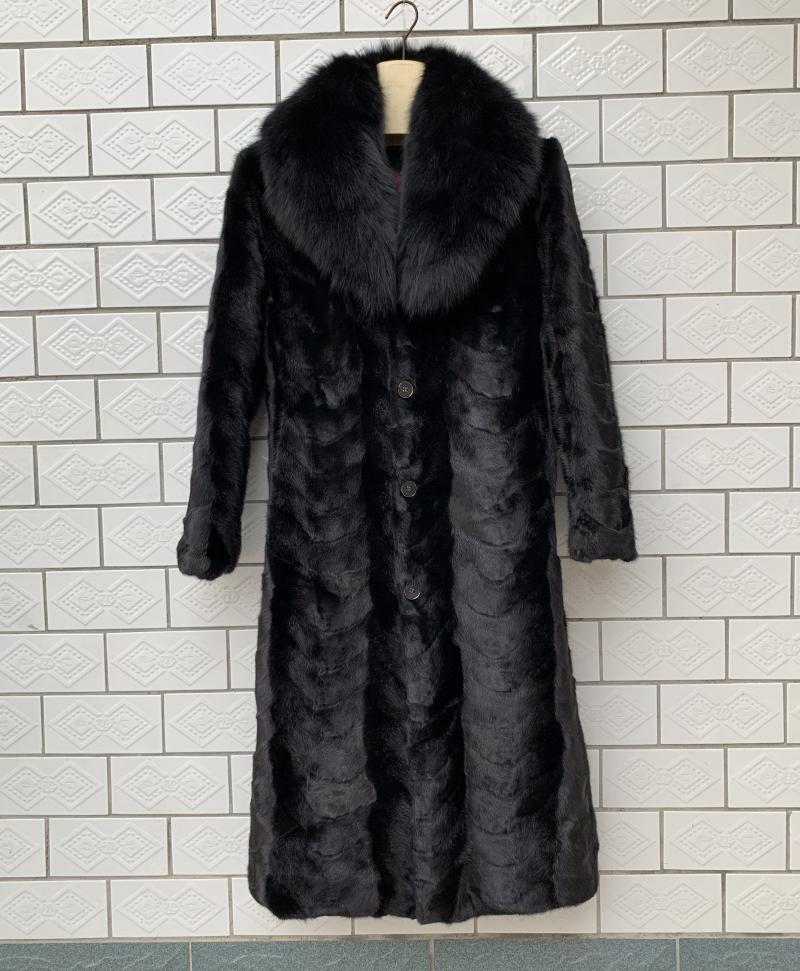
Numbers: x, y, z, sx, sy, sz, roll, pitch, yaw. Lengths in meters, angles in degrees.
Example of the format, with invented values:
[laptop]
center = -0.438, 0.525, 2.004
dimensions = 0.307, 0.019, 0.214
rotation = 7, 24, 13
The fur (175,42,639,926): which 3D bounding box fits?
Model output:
[fur]
center = 0.010, -0.011, 2.373
dimensions = 0.812, 1.572, 0.184
rotation = -1, 4, 1
